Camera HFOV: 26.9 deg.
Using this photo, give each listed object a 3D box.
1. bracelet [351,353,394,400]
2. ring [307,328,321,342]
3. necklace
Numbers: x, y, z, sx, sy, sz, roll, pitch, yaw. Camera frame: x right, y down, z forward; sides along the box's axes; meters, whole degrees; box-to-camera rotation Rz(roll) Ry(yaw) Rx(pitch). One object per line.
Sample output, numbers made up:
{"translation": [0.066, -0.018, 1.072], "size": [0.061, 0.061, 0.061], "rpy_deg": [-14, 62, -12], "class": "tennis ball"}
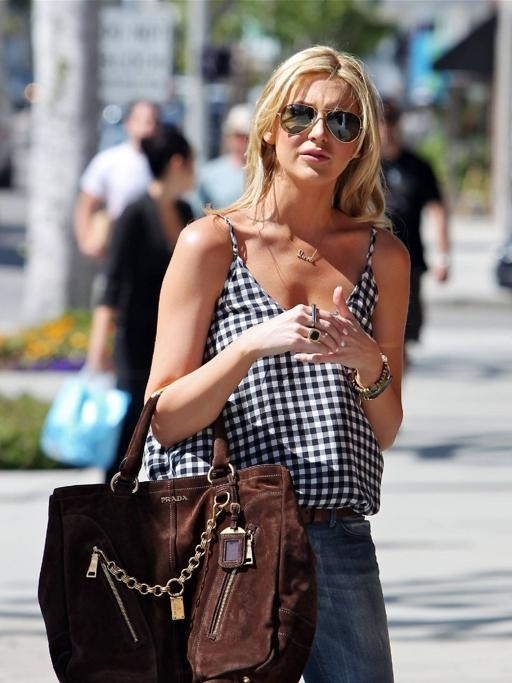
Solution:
{"translation": [0.247, 0.074, 2.271], "size": [0.087, 0.095, 0.040], "rpy_deg": [-18, 7, -6], "class": "bracelet"}
{"translation": [0.110, -0.012, 2.056], "size": [0.024, 0.022, 0.007], "rpy_deg": [1, -13, -2], "class": "ring"}
{"translation": [0.107, -0.246, 2.328], "size": [0.112, 0.059, 0.142], "rpy_deg": [3, 48, -11], "class": "necklace"}
